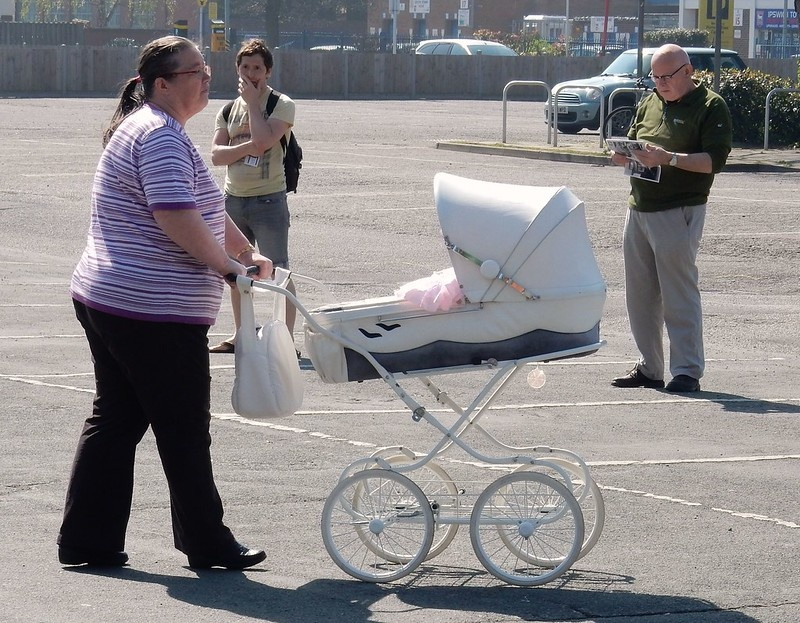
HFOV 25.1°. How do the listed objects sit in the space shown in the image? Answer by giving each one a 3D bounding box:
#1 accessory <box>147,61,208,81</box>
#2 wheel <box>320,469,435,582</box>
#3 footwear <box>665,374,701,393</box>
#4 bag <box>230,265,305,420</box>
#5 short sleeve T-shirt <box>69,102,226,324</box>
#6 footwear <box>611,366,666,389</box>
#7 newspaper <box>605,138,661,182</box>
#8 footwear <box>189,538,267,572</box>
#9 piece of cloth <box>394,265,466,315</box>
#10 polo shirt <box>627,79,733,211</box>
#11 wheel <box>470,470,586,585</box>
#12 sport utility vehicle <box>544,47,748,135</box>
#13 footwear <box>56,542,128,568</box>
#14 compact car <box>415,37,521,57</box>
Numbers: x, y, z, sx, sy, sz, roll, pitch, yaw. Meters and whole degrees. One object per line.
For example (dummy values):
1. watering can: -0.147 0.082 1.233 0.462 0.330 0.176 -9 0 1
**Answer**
1. accessory: -1.229 -1.350 10.165 0.213 0.057 0.154 -13 7 1
2. wheel: -0.114 1.200 10.236 0.648 0.631 0.340 1 7 -2
3. footwear: 2.084 0.525 13.156 0.221 0.091 0.111 -4 8 -18
4. bag: -0.735 0.205 10.201 0.436 0.823 0.341 -6 10 -44
5. short sleeve T-shirt: -1.400 -0.569 10.409 0.932 1.271 1.171 -4 7 -25
6. footwear: 1.778 0.508 13.378 0.459 0.204 0.151 6 0 2
7. newspaper: 1.673 -1.063 12.705 0.298 0.406 0.432 -11 12 -20
8. footwear: -0.979 1.397 10.312 0.481 0.198 0.174 -6 7 -5
9. piece of cloth: 0.203 -0.124 10.190 0.320 0.112 0.253 -1 21 -2
10. polo shirt: 2.023 -1.236 13.153 0.562 0.918 0.931 -8 16 -40
11. wheel: 0.739 1.208 10.217 0.658 0.644 0.314 2 7 5
12. sport utility vehicle: 4.211 -3.794 30.935 3.611 1.560 1.852 -2 5 -17
13. footwear: -1.752 1.398 10.302 0.417 0.167 0.140 2 2 -12
14. compact car: 2.065 -7.930 54.237 2.915 0.597 5.405 1 7 1
